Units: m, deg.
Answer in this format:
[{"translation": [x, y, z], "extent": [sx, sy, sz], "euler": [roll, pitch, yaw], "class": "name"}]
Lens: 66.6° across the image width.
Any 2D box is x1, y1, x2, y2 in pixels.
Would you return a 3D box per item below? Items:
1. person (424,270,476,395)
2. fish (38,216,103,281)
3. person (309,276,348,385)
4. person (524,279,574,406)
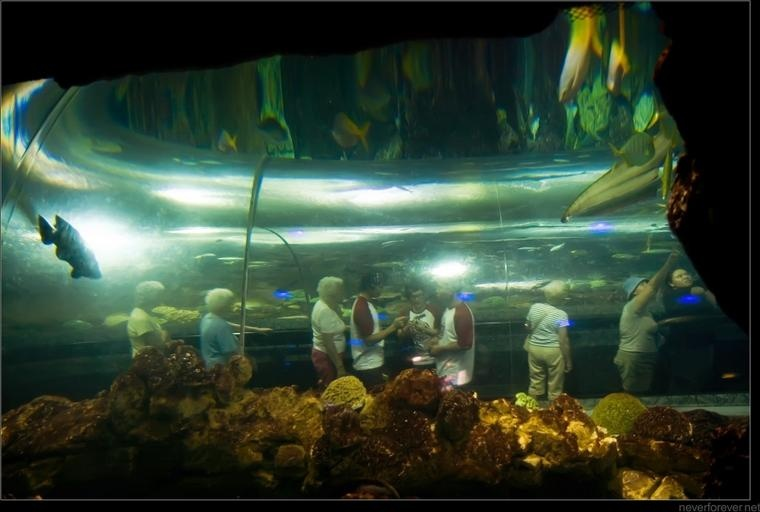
[{"translation": [0.885, 1.002, 8.014], "extent": [1.022, 1.884, 1.152], "euler": [1, 1, 7], "class": "person"}, {"translation": [-4.163, -0.101, 7.842], "extent": [0.525, 1.013, 0.224], "euler": [-48, -1, 13], "class": "fish"}, {"translation": [-0.633, 0.937, 7.237], "extent": [0.447, 1.344, 0.238], "euler": [-3, 2, -1], "class": "person"}, {"translation": [2.088, 1.054, 7.151], "extent": [0.557, 1.483, 0.176], "euler": [-3, 2, -17], "class": "person"}]
